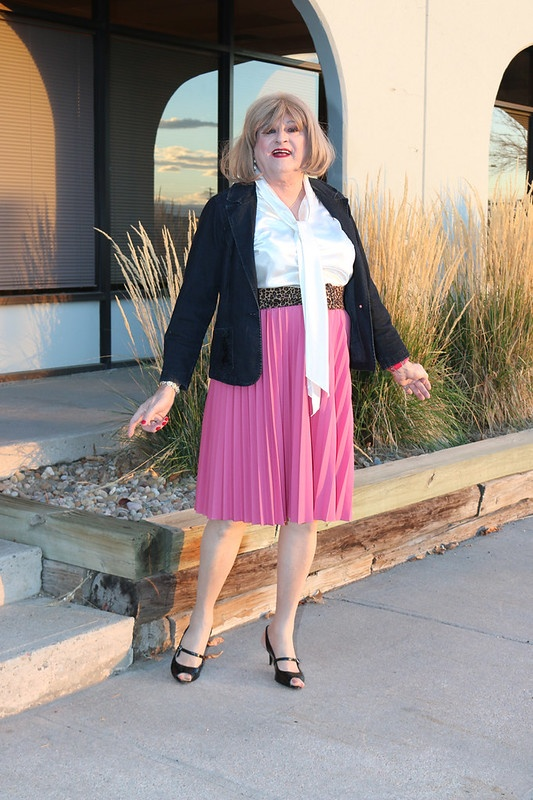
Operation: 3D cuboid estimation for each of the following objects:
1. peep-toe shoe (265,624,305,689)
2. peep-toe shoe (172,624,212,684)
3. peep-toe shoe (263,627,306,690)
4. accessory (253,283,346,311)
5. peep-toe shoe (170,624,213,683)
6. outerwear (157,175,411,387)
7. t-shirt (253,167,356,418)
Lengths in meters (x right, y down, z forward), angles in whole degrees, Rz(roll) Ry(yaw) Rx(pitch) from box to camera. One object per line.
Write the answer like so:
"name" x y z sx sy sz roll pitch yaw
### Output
"peep-toe shoe" 0.042 0.646 1.632 0.053 0.074 0.170 1 6 -27
"peep-toe shoe" -0.192 0.648 1.651 0.079 0.042 0.187 16 8 0
"peep-toe shoe" 0.046 0.644 1.638 0.053 0.073 0.170 1 8 -27
"accessory" 0.095 -0.236 1.510 0.074 0.058 0.260 7 10 44
"peep-toe shoe" -0.191 0.643 1.649 0.070 0.042 0.187 15 10 0
"outerwear" 0.060 -0.272 1.566 0.664 0.539 0.279 -3 3 -12
"t-shirt" 0.078 -0.255 1.522 0.230 0.548 0.249 2 7 12
